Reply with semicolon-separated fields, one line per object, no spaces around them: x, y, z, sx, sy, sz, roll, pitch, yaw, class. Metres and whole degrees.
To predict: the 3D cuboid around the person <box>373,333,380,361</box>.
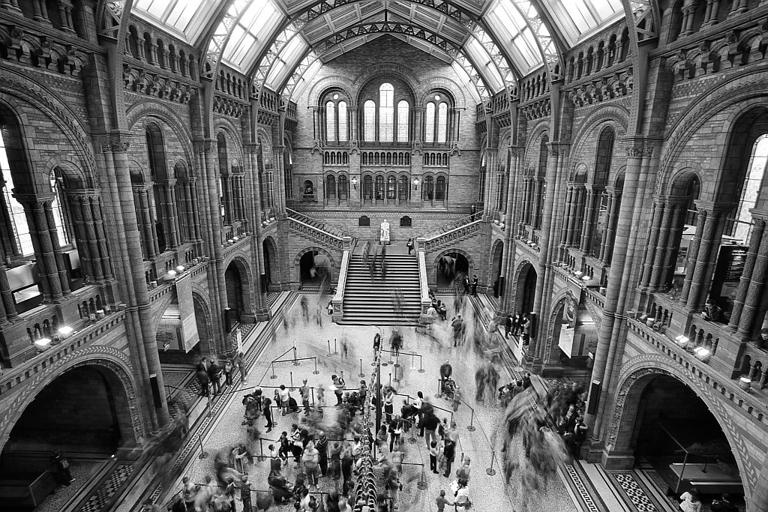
-0.431;4.823;23.838;0.345;1.252;0.518;3;4;9;person

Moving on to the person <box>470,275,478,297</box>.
6.806;2.206;33.100;0.594;1.417;1.229;4;8;13;person

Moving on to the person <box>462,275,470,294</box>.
6.261;2.167;33.262;0.503;1.194;1.013;3;8;10;person

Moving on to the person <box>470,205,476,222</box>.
7.623;-3.682;37.574;0.421;1.219;0.996;3;8;11;person

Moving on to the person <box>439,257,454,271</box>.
5.247;0.542;36.403;1.250;1.220;0.758;4;8;15;person
